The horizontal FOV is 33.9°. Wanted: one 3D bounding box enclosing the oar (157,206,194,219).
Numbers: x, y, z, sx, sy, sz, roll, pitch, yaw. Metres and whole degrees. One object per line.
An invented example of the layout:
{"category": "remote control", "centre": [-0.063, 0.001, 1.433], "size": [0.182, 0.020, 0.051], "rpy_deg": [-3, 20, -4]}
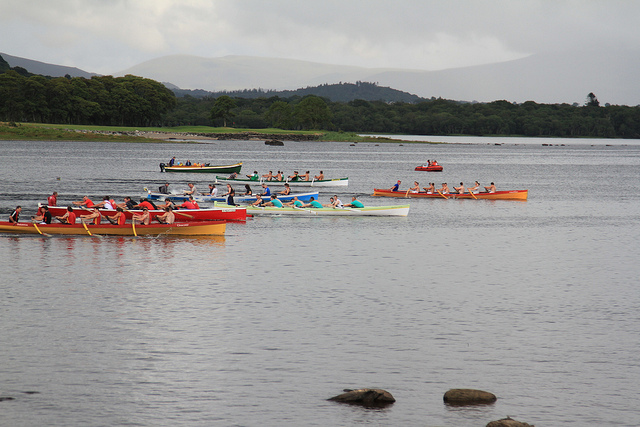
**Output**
{"category": "oar", "centre": [-9.619, 0.061, 69.998], "size": [2.131, 0.716, 0.611], "rpy_deg": [0, 5, -26]}

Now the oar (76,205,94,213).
{"category": "oar", "centre": [-15.666, -0.240, 69.807], "size": [0.914, 0.116, 0.050], "rpy_deg": [31, 38, 3]}

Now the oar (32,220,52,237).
{"category": "oar", "centre": [-17.603, 1.049, 66.001], "size": [0.176, 1.177, 0.163], "rpy_deg": [-42, -1, 43]}

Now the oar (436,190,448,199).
{"category": "oar", "centre": [10.050, -1.462, 86.928], "size": [0.156, 0.993, 0.107], "rpy_deg": [-36, 20, 25]}

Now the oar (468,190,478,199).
{"category": "oar", "centre": [12.669, -1.463, 87.518], "size": [0.114, 1.053, 0.054], "rpy_deg": [-46, -18, 7]}

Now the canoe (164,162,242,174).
{"category": "canoe", "centre": [-11.740, -4.394, 108.215], "size": [12.037, 1.298, 2.185], "rpy_deg": [0, 2, 2]}

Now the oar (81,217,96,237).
{"category": "oar", "centre": [-14.766, 0.968, 66.583], "size": [0.236, 1.481, 0.203], "rpy_deg": [-42, 1, -30]}

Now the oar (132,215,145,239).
{"category": "oar", "centre": [-11.620, 0.983, 66.766], "size": [0.220, 1.498, 0.235], "rpy_deg": [-12, 6, 36]}

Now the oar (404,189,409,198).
{"category": "oar", "centre": [7.132, -1.554, 87.599], "size": [0.263, 0.982, 0.157], "rpy_deg": [2, -22, 44]}

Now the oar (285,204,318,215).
{"category": "oar", "centre": [-1.409, -0.172, 75.368], "size": [2.199, 0.172, 0.203], "rpy_deg": [17, 18, 24]}

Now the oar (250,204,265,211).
{"category": "oar", "centre": [-4.589, -0.427, 75.621], "size": [1.307, 0.272, 0.302], "rpy_deg": [21, -24, 21]}
